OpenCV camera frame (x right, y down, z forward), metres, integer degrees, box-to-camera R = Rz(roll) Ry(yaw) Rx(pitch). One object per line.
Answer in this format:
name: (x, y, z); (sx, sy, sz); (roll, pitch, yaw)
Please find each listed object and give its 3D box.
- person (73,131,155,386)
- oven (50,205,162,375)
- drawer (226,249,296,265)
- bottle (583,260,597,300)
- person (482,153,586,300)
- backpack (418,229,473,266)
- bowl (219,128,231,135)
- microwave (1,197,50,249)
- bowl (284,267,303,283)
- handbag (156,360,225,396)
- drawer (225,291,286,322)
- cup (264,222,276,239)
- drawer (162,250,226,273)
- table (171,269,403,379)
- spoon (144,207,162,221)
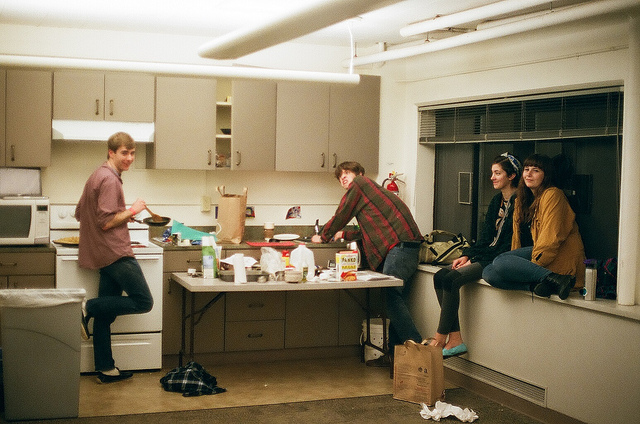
person: (-1.901, 0.411, 4.930); (0.634, 2.261, 1.149); (-2, 5, -24)
oven: (-2.124, 0.819, 5.285); (0.850, 1.530, 0.950); (-25, -21, 25)
drawer: (-0.605, 0.447, 5.406); (0.590, 0.118, 0.355); (-2, 5, -27)
bottle: (2.168, 0.542, 4.271); (0.094, 0.295, 0.197); (3, 5, 26)
person: (1.869, 0.102, 4.564); (0.795, 1.170, 0.598); (3, 5, 30)
backpack: (1.297, 0.367, 5.489); (0.514, 0.205, 0.373); (0, -3, -29)
bowl: (-1.042, -0.880, 5.869); (0.122, 0.077, 0.148); (0, 4, -11)
microwave: (-2.696, 0.119, 5.159); (0.646, 0.547, 0.425); (0, -5, -19)
bowl: (-0.241, 0.554, 4.661); (0.123, 0.078, 0.120); (0, -3, 0)
handbag: (-1.145, 1.484, 4.713); (0.421, 0.143, 0.322); (7, 1, 32)
drawer: (-0.668, 0.937, 5.658); (0.643, 0.353, 0.348); (0, 7, -8)
cup: (-0.559, 0.211, 5.923); (0.166, 0.239, 0.159); (1, 6, 0)
drawer: (-1.357, 0.476, 5.255); (0.358, 0.202, 0.220); (0, -1, -24)
table: (-0.320, 1.050, 5.034); (2.010, 0.836, 0.860); (1, -2, -10)
spoon: (-1.574, 0.029, 5.074); (0.061, 0.039, 0.299); (-11, 36, -35)
